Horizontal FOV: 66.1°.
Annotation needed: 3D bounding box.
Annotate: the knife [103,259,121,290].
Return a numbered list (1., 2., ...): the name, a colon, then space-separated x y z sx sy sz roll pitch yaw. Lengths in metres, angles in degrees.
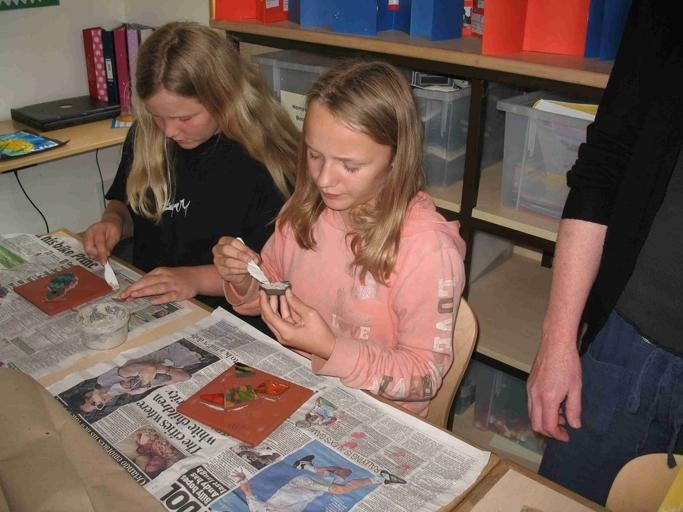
1. knife: -0.648 0.053 1.495 0.036 0.011 0.132 -24 39 -18

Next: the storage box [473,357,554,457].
1. storage box: 0.756 0.593 2.097 0.248 0.289 0.335 11 -6 -31

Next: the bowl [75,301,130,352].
1. bowl: -0.571 0.163 1.278 0.118 0.063 0.109 3 16 -1

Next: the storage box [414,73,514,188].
1. storage box: 0.404 -0.440 1.771 0.462 0.296 0.263 16 29 34

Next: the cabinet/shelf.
1. cabinet/shelf: -0.018 -0.233 1.563 0.830 1.224 0.879 -21 42 -30

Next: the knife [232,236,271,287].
1. knife: -0.243 0.018 1.416 0.056 0.019 0.263 -15 27 -10
